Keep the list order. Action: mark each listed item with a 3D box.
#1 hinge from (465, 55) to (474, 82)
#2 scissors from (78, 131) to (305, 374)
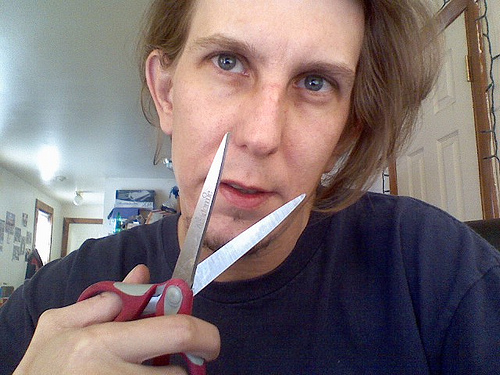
[{"bbox_3d":[1.189,-0.650,2.245,0.018,0.156,0.042,2,-5,-7],"label":"hinge"},{"bbox_3d":[-0.095,0.076,0.925,0.298,0.590,0.096,28,-25,-14],"label":"scissors"}]
